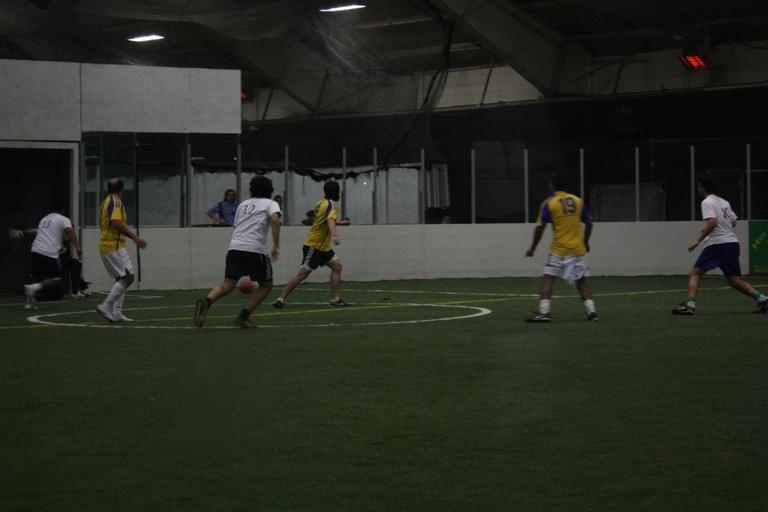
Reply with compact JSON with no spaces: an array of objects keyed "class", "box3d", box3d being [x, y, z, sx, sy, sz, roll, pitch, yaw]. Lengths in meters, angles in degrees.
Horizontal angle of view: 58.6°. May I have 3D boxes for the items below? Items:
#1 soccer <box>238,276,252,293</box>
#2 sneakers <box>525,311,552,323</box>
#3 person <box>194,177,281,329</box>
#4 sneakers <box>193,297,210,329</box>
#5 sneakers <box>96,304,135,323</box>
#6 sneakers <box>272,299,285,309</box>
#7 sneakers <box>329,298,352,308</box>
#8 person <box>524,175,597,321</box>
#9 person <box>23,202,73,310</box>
[{"class":"soccer","box3d":[-1.924,0.440,9.571,0.173,0.199,0.402,1,3,-10]},{"class":"sneakers","box3d":[2.345,0.923,10.452,0.447,0.168,0.158,0,-5,9]},{"class":"person","box3d":[-2.064,-0.050,9.852,1.085,2.257,0.814,1,3,-12]},{"class":"sneakers","box3d":[-2.665,0.849,10.000,0.185,0.471,0.217,13,-8,9]},{"class":"sneakers","box3d":[-4.449,0.954,11.271,0.407,0.179,0.128,23,25,-36]},{"class":"sneakers","box3d":[-1.938,0.879,12.611,0.136,0.159,0.347,46,-1,-3]},{"class":"sneakers","box3d":[-0.824,0.899,13.098,0.467,0.184,0.155,2,-1,-11]},{"class":"person","box3d":[2.833,-0.106,10.651,0.991,2.264,1.206,3,3,25]},{"class":"person","box3d":[-6.601,-0.024,13.458,0.805,2.069,0.891,1,3,-22]}]
